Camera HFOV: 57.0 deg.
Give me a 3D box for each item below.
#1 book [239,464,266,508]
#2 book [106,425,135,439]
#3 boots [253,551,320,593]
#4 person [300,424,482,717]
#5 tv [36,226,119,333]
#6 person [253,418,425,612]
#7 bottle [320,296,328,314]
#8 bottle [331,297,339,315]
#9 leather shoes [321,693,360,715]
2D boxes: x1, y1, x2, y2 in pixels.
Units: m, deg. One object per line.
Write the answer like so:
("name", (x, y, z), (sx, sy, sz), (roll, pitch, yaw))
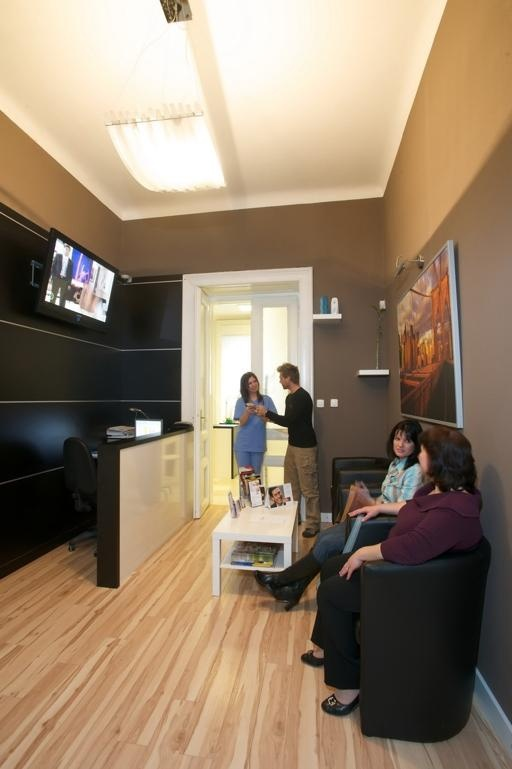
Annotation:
("book", (-0.037, 0.651, 3.393), (0.163, 0.387, 0.251), (-6, 9, -22))
("book", (-0.971, 0.346, 3.399), (0.177, 0.078, 0.256), (0, -1, -15))
("boots", (0.204, 0.990, 2.552), (0.426, 0.257, 0.158), (-9, -20, 35))
("person", (0.481, 0.666, 1.774), (0.521, 1.106, 0.382), (10, 3, 22))
("tv", (-1.373, -0.751, 3.642), (0.058, 0.604, 0.881), (11, -1, 13))
("person", (0.426, 0.680, 2.475), (0.775, 1.245, 0.408), (12, 1, 12))
("bottle", (0.615, -0.704, 4.259), (0.076, 0.187, 0.254), (0, -1, 8))
("bottle", (0.707, -0.692, 4.200), (0.072, 0.190, 0.239), (0, -1, 13))
("leather shoes", (0.312, 1.162, 1.750), (0.101, 0.047, 0.067), (1, -4, -6))
